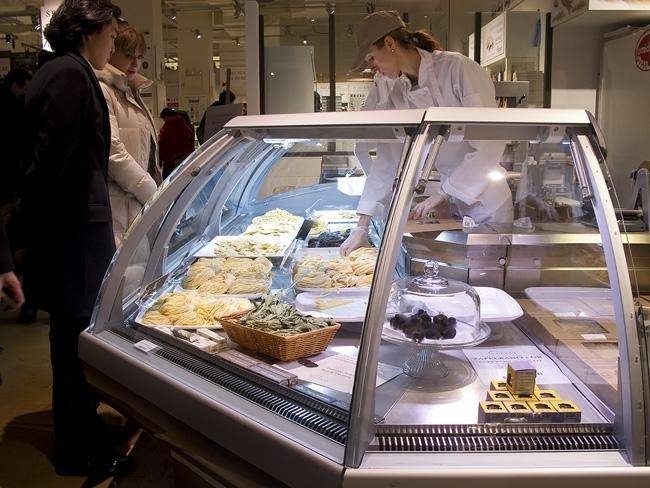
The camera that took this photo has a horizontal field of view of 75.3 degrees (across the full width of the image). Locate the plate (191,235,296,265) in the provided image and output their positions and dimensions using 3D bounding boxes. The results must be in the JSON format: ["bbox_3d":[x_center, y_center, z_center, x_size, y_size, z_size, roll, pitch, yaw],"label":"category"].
[{"bbox_3d":[-0.349,0.041,1.755,0.246,0.032,0.169,2,23,15],"label":"plate"}]

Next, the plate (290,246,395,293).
[{"bbox_3d":[0.030,0.090,1.429,0.215,0.068,0.166,-3,23,18],"label":"plate"}]

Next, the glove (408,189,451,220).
[{"bbox_3d":[0.305,-0.116,1.247,0.037,0.045,0.156,-27,-10,28],"label":"glove"}]

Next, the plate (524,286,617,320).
[{"bbox_3d":[0.666,0.158,1.128,0.111,0.020,0.107,-11,13,10],"label":"plate"}]
